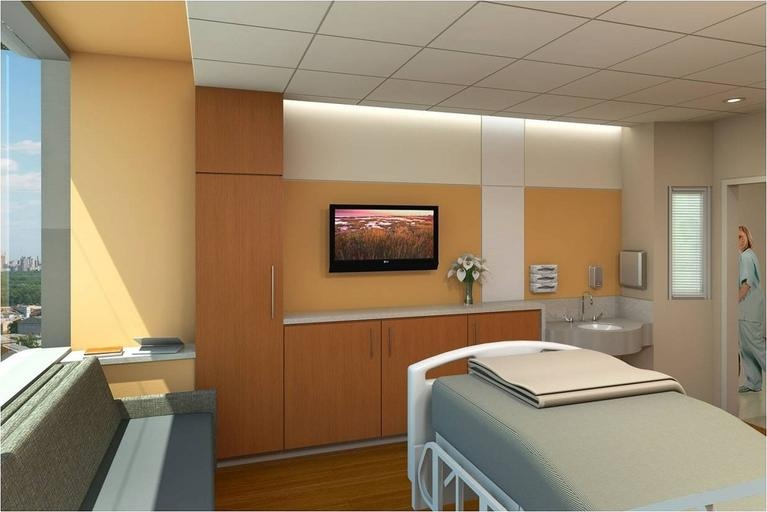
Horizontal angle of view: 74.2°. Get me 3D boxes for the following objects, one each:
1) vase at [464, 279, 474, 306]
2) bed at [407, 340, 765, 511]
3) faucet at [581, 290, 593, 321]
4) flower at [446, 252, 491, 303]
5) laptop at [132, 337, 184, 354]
[{"bbox_3d":[0.963,0.398,5.751,0.106,0.283,0.204,-2,3,10],"label":"vase"},{"bbox_3d":[1.138,1.065,3.230,1.490,0.931,1.602,0,-1,-15],"label":"bed"},{"bbox_3d":[2.521,0.611,6.233,0.260,0.345,0.106,-4,3,-33],"label":"faucet"},{"bbox_3d":[0.931,0.286,5.770,0.480,0.493,0.483,0,1,-17],"label":"flower"},{"bbox_3d":[-2.162,0.838,4.787,0.509,0.120,0.259,-2,2,3],"label":"laptop"}]
